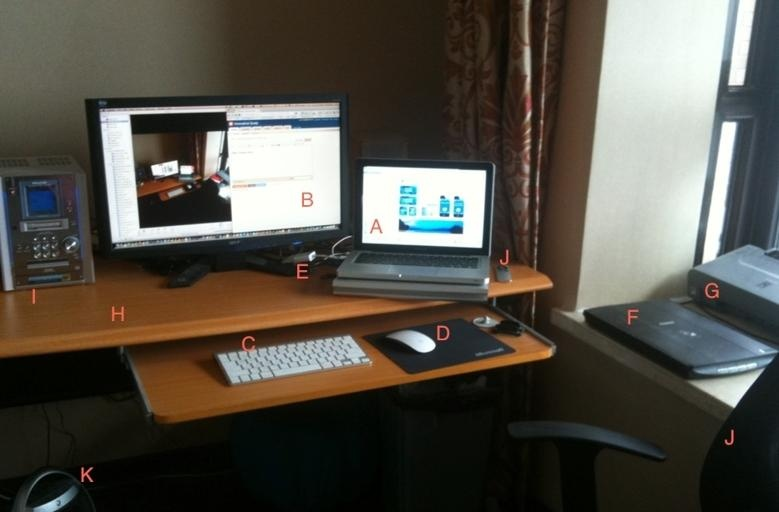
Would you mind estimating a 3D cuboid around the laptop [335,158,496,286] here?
[{"bbox_3d":[0.111,-0.131,2.061,0.603,0.397,0.415,3,18,4],"label":"laptop"}]

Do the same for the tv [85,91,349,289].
[{"bbox_3d":[-0.583,-0.220,2.006,0.638,0.422,0.257,-6,17,-19],"label":"tv"}]
